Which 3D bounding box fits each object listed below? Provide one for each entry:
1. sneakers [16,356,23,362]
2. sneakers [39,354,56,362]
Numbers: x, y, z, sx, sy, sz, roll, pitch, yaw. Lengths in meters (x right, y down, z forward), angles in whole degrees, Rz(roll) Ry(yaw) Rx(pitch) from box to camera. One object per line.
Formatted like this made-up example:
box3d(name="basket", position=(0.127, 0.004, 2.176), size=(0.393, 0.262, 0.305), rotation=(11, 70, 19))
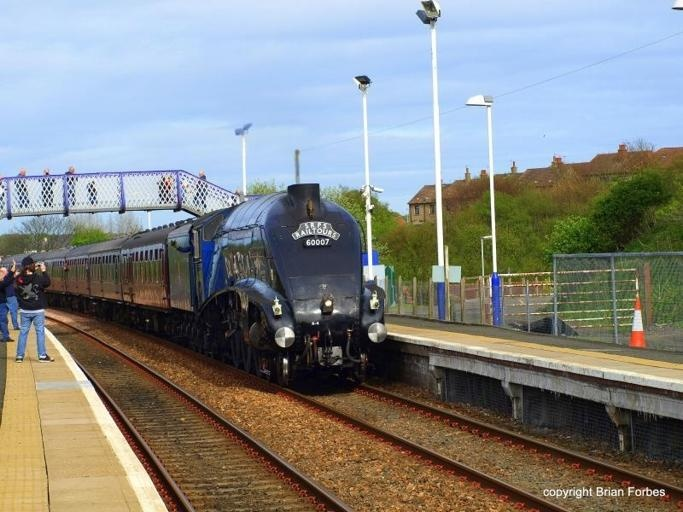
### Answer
box3d(name="sneakers", position=(-8.354, 2.672, 20.055), size=(0.128, 0.109, 0.226), rotation=(3, -4, -8))
box3d(name="sneakers", position=(-7.844, 2.724, 20.644), size=(0.404, 0.184, 0.137), rotation=(-2, 7, -25))
